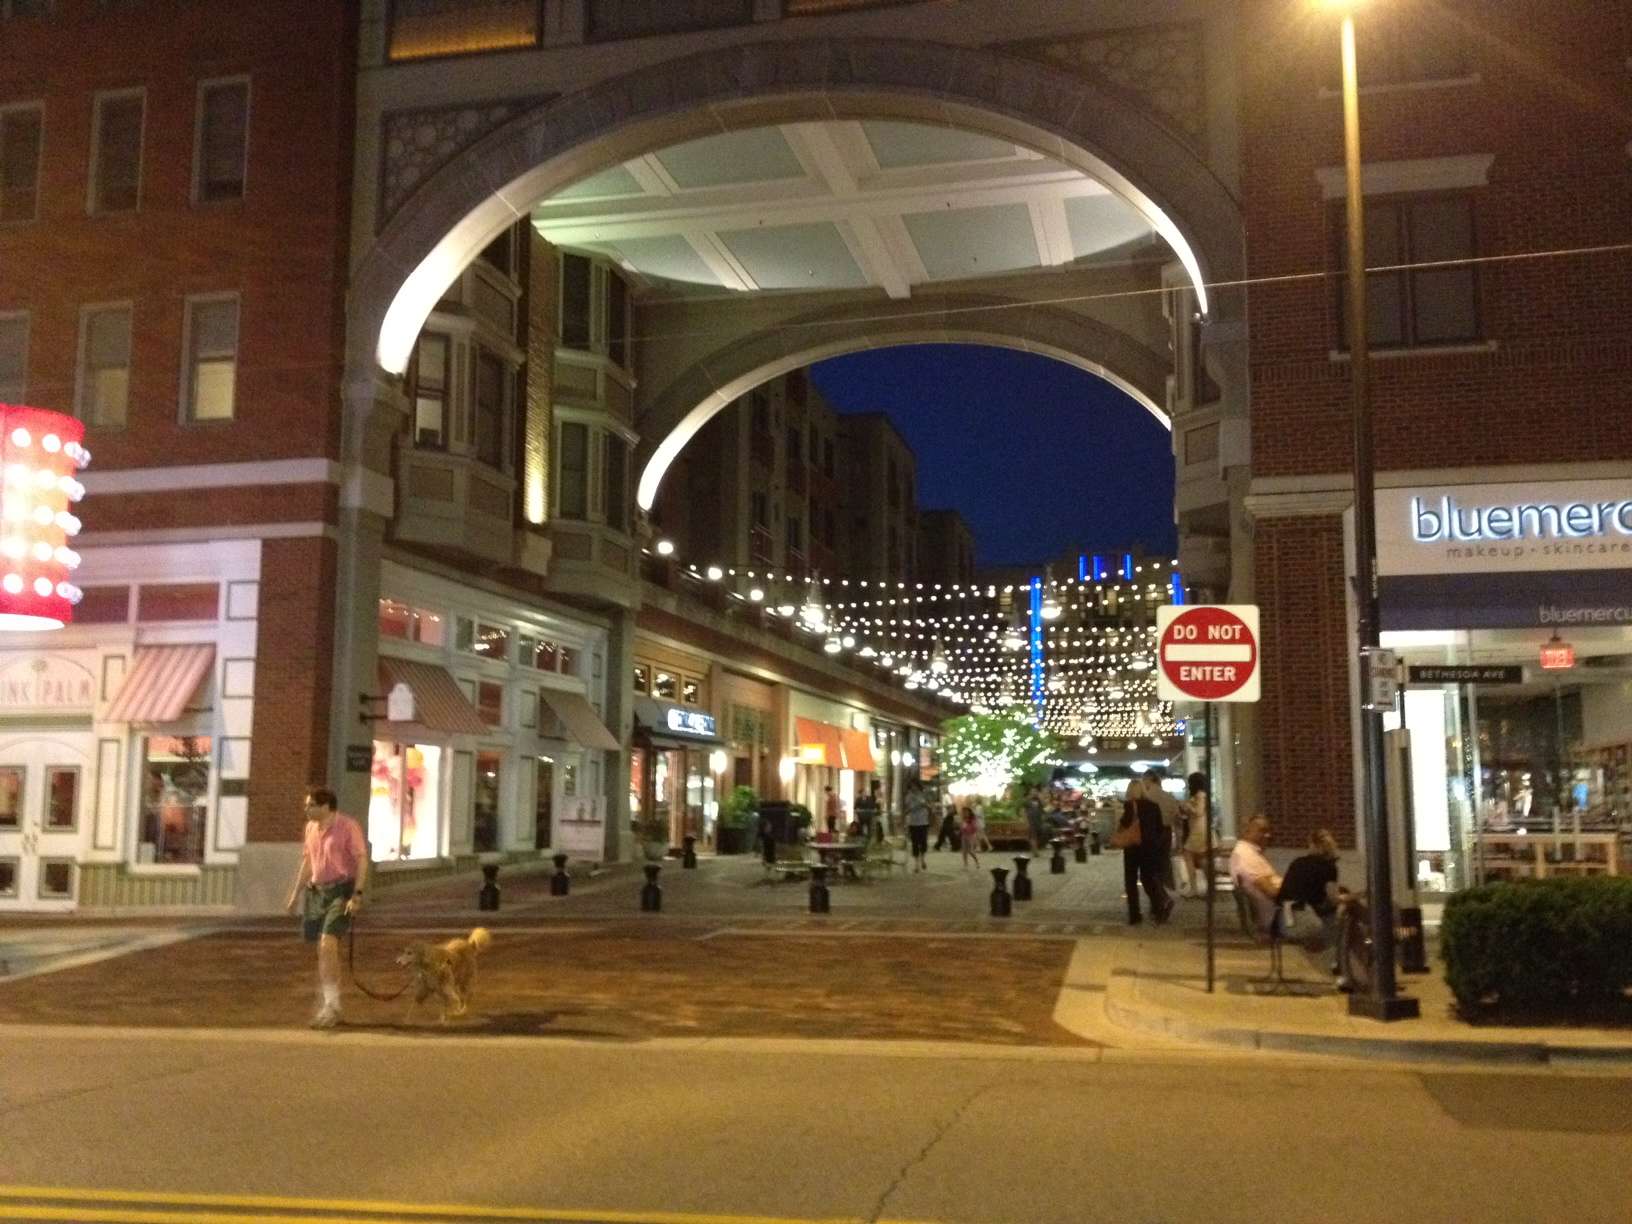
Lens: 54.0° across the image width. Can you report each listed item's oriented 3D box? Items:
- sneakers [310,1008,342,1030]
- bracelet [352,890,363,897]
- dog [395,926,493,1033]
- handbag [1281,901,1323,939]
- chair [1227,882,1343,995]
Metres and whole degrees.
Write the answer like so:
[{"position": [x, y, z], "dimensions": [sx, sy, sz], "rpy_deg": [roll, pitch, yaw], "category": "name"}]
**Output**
[{"position": [-4.731, 3.888, 15.389], "dimensions": [0.286, 0.206, 0.289], "rpy_deg": [2, -11, -14], "category": "sneakers"}, {"position": [-4.503, 2.750, 15.673], "dimensions": [0.059, 0.059, 0.015], "rpy_deg": [-1, -5, -1], "category": "bracelet"}, {"position": [-3.617, 3.471, 15.590], "dimensions": [0.396, 0.666, 1.365], "rpy_deg": [4, 0, 23], "category": "dog"}, {"position": [5.096, 3.235, 16.744], "dimensions": [0.375, 0.406, 0.250], "rpy_deg": [2, -13, -2], "category": "handbag"}, {"position": [5.016, 3.572, 17.320], "dimensions": [1.097, 0.742, 1.135], "rpy_deg": [-3, -8, 42], "category": "chair"}]
